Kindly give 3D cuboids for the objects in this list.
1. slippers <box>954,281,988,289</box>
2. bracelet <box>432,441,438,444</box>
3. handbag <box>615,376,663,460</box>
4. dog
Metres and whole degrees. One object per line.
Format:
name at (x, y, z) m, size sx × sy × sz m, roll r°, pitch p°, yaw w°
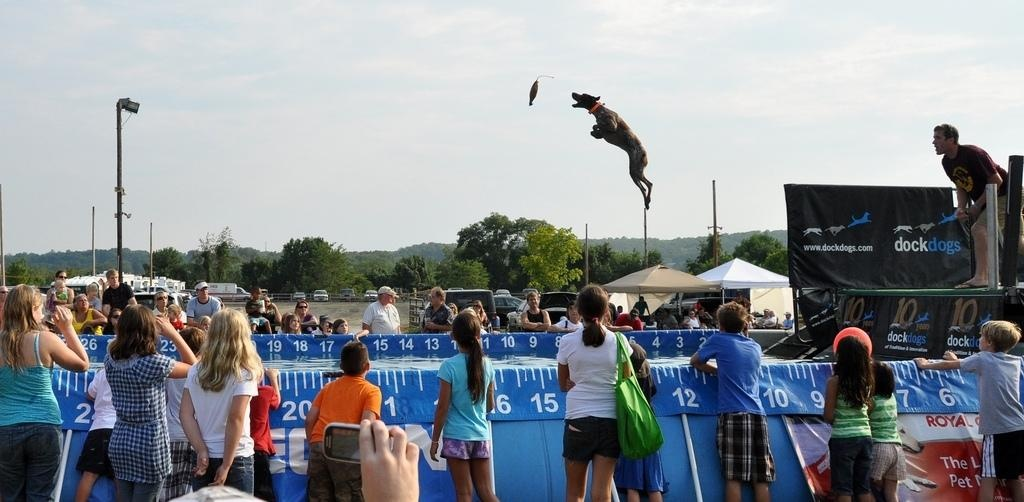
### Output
slippers at (9.973, 0.758, 31.732) m, size 0.740 × 0.241 × 0.208 m, roll 4°, pitch -1°, yaw 15°
bracelet at (-1.478, 3.691, 27.954) m, size 0.094 × 0.060 × 0.094 m, roll 0°, pitch -2°, yaw 40°
handbag at (2.429, 3.180, 27.988) m, size 0.724 × 1.654 × 0.753 m, roll 0°, pitch -1°, yaw -3°
dog at (2.368, -2.657, 35.511) m, size 0.941 × 3.358 × 1.530 m, roll -25°, pitch 28°, yaw 51°
